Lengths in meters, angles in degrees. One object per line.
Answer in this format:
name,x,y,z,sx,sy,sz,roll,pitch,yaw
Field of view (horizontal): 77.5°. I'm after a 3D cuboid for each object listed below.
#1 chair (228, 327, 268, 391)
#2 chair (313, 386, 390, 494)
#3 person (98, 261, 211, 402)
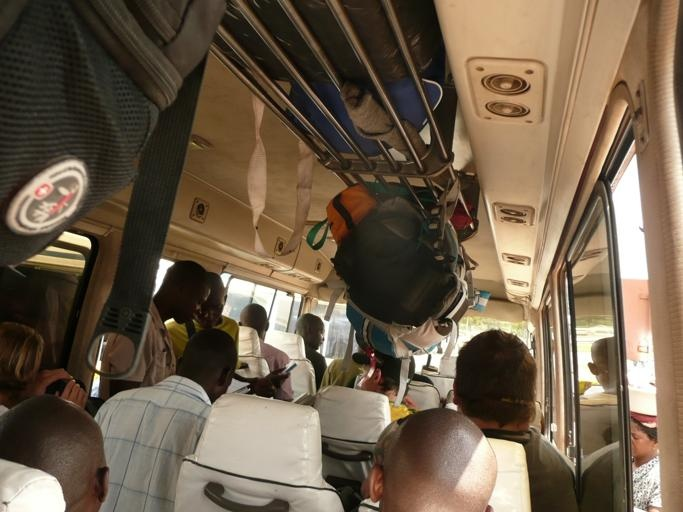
chair,-1.037,1.135,4.812,0.448,0.666,0.564,5,-55,2
chair,0.106,1.140,2.929,0.468,0.690,0.659,3,0,18
person,-1.015,0.421,2.322,0.377,0.470,1.132,24,-49,-18
